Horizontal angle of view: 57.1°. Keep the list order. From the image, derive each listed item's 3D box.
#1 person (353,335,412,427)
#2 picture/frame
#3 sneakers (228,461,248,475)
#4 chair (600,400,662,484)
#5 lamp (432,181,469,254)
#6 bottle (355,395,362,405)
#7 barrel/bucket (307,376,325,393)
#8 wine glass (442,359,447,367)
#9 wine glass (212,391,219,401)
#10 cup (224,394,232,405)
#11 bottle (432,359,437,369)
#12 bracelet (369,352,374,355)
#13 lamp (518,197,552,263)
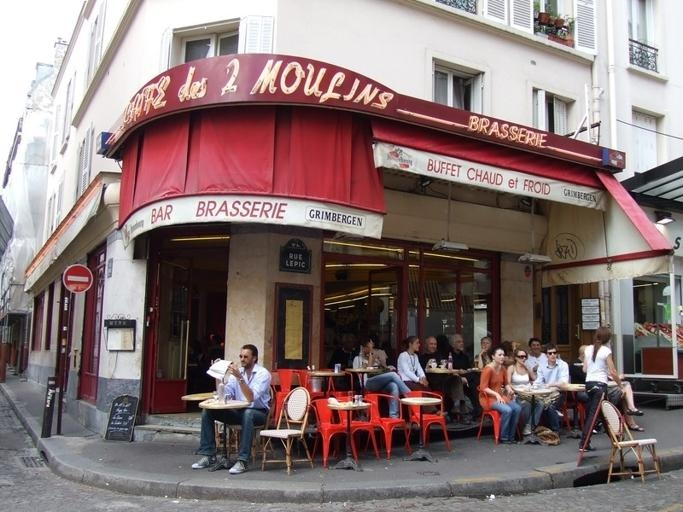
[{"bbox_3d":[0.838,2.511,12.724,0.981,1.804,0.598,-17,-30,14],"label":"person"},{"bbox_3d":[-1.063,1.516,13.574,0.891,1.748,0.189,7,-12,-31],"label":"picture/frame"},{"bbox_3d":[-1.707,3.500,10.333,0.133,0.144,0.303,-6,-18,17],"label":"sneakers"},{"bbox_3d":[4.938,3.138,10.714,0.825,1.332,1.759,-5,-12,26],"label":"chair"},{"bbox_3d":[2.614,-0.937,15.385,0.776,1.850,1.548,-2,-11,8],"label":"lamp"},{"bbox_3d":[0.305,2.470,10.731,0.098,0.194,0.097,1,-1,0],"label":"bottle"},{"bbox_3d":[-0.509,2.638,12.951,0.329,0.428,0.352,1,1,0],"label":"barrel/bucket"},{"bbox_3d":[2.296,2.416,14.073,0.131,0.165,0.100,-2,-18,15],"label":"wine glass"},{"bbox_3d":[-2.139,2.383,10.668,0.125,0.153,0.150,0,-12,1],"label":"wine glass"},{"bbox_3d":[-1.935,2.434,10.645,0.148,0.225,0.109,1,-7,-18],"label":"cup"},{"bbox_3d":[2.043,2.406,13.939,0.102,0.156,0.155,-1,-5,7],"label":"bottle"},{"bbox_3d":[0.632,2.132,13.664,0.104,0.046,0.144,5,0,-2],"label":"bracelet"},{"bbox_3d":[5.029,-0.688,16.403,0.680,1.852,1.309,-4,-11,19],"label":"lamp"}]
